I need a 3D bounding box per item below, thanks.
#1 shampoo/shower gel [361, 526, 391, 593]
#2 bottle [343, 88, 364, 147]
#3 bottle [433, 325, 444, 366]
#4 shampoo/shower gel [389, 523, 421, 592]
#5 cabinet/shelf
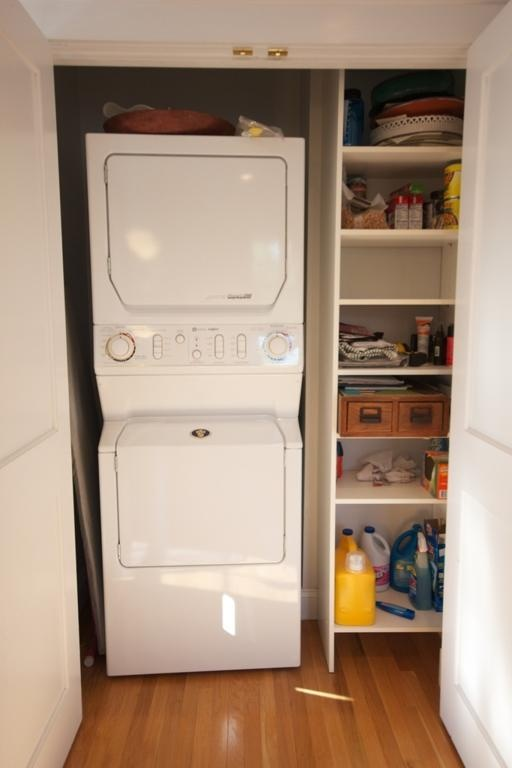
[{"bbox_3d":[0.431,0.646,2.171,0.131,0.206,0.110,-3,3,9],"label":"shampoo/shower gel"},{"bbox_3d":[0.286,-0.774,1.753,0.097,0.140,0.033,-6,10,-37],"label":"bottle"},{"bbox_3d":[0.622,-0.132,2.007,0.040,0.109,0.226,3,9,18],"label":"bottle"},{"bbox_3d":[0.551,0.635,2.154,0.117,0.274,0.063,-1,23,-1],"label":"shampoo/shower gel"},{"bbox_3d":[0.398,-0.074,1.992,0.509,1.993,0.568,3,8,18],"label":"cabinet/shelf"}]
